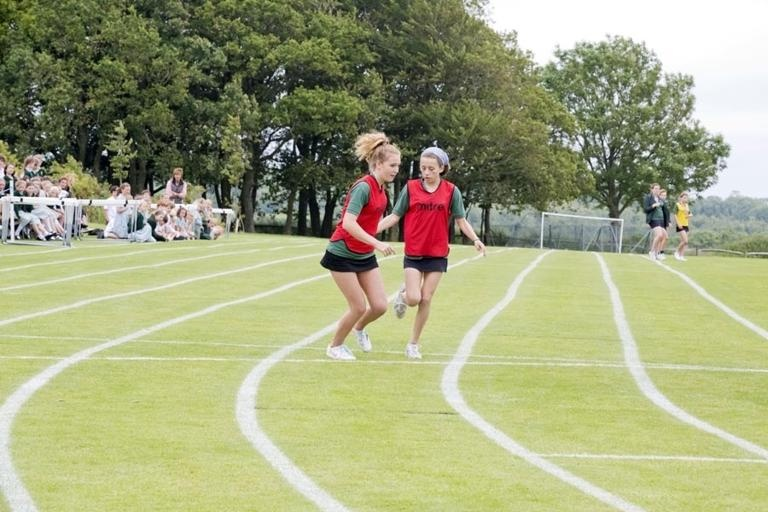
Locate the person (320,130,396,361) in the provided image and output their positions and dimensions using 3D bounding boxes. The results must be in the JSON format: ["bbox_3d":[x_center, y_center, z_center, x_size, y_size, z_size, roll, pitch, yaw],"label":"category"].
[{"bbox_3d":[-0.304,-0.141,9.393,0.786,2.734,1.190,4,3,-2],"label":"person"}]

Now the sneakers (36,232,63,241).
[{"bbox_3d":[-9.351,-0.521,22.179,0.716,0.276,0.232,-5,7,-2],"label":"sneakers"}]

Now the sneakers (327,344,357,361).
[{"bbox_3d":[-0.532,1.153,9.447,0.287,0.121,0.168,-1,-1,43],"label":"sneakers"}]

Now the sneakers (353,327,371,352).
[{"bbox_3d":[-0.267,1.041,9.938,0.177,0.347,0.142,-17,7,41],"label":"sneakers"}]
